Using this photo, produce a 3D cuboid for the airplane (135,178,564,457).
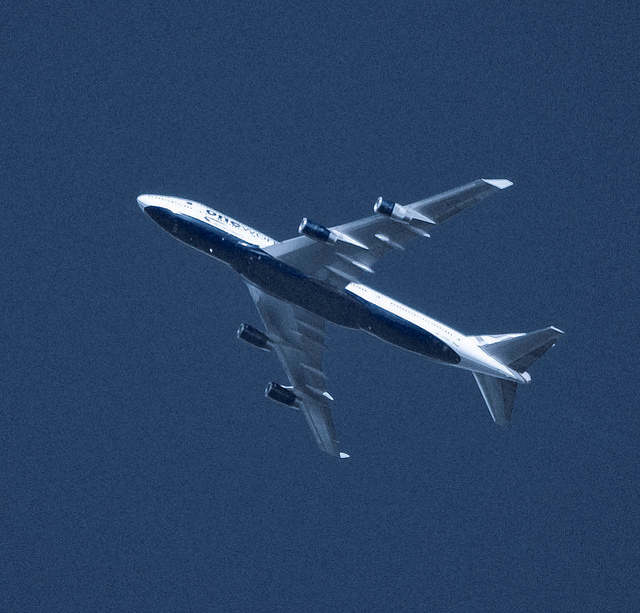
[{"bbox_3d":[2.149,0.659,67.439,15.757,12.103,9.371,-2,79,7],"label":"airplane"}]
